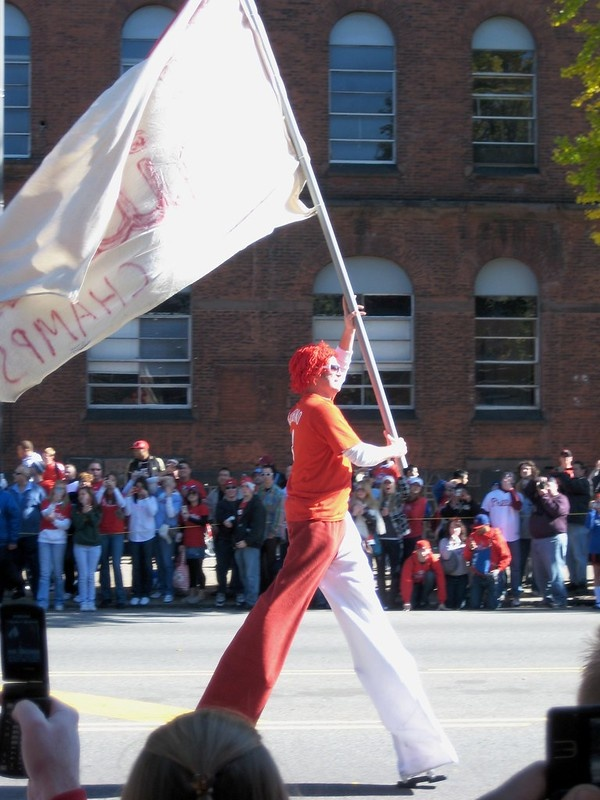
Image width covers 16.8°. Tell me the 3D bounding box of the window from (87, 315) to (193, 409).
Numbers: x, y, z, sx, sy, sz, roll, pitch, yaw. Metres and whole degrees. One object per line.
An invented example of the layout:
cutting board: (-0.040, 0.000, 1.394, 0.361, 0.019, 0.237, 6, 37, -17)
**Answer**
window: (-2.190, -0.457, 28.194, 1.705, 1.252, 0.505, 0, 0, -2)

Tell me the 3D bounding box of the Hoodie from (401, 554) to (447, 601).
Hoodie: (1.386, 1.980, 22.369, 0.536, 0.513, 0.431, -1, 20, -3)

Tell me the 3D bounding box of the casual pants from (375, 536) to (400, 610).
casual pants: (1.014, 1.937, 22.828, 0.313, 0.884, 0.238, 4, 2, 18)

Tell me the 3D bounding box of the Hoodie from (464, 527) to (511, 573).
Hoodie: (2.068, 1.679, 22.279, 0.584, 0.474, 0.357, -4, -11, 40)

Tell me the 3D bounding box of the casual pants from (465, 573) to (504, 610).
casual pants: (2.059, 2.119, 22.322, 0.399, 0.636, 0.248, 6, 8, 5)

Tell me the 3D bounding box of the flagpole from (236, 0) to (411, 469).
flagpole: (0.279, -2.027, 24.940, 0.213, 7.417, 0.569, -18, 6, 39)

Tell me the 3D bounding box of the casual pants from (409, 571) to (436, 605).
casual pants: (1.364, 2.079, 22.387, 0.317, 0.314, 0.246, -20, 29, -9)

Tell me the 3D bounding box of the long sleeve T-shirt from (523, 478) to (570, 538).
long sleeve T-shirt: (2.820, 1.240, 22.908, 0.472, 0.622, 0.564, 17, -23, -27)

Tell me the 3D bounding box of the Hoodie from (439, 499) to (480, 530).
Hoodie: (1.866, 1.298, 23.242, 0.403, 0.365, 0.127, 3, -46, 35)

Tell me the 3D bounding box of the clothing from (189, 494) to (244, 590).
clothing: (-0.777, 1.579, 22.908, 0.451, 1.315, 0.432, -3, -9, 25)

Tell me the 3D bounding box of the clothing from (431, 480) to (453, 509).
clothing: (1.806, 1.204, 24.890, 0.293, 0.334, 0.357, 12, -25, 12)

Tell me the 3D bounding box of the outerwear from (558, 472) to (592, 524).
outerwear: (3.258, 1.122, 23.603, 0.262, 0.355, 0.258, -2, -7, 28)

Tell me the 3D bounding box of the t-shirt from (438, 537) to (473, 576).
t-shirt: (1.744, 1.758, 22.382, 0.462, 0.421, 0.255, 0, -23, -18)

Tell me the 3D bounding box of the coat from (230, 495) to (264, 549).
coat: (-0.610, 1.369, 22.721, 0.509, 0.568, 0.382, 2, 2, 44)

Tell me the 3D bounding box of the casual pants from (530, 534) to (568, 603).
casual pants: (2.811, 1.898, 22.688, 0.364, 0.873, 0.467, 6, -6, -35)

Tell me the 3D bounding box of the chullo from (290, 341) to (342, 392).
chullo: (0.102, -0.226, 14.969, 0.430, 0.379, 0.337, 1, 1, 0)

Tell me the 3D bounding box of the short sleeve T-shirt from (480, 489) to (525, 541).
short sleeve T-shirt: (2.344, 1.341, 23.160, 0.653, 0.648, 0.386, 0, -20, -9)
